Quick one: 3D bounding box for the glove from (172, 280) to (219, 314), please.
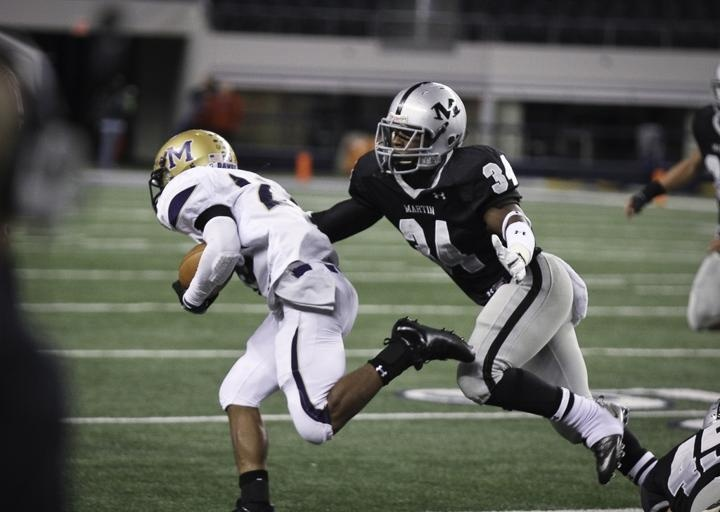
[{"bbox_3d":[-0.819,0.162,5.785,0.182,0.063,0.134,28,33,8],"label":"glove"}]

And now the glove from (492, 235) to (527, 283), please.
[{"bbox_3d":[0.678,0.007,5.377,0.059,0.219,0.135,-20,29,49],"label":"glove"}]

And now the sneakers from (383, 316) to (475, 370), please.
[{"bbox_3d":[0.272,0.379,5.623,0.196,0.265,0.579,-1,3,44],"label":"sneakers"}]

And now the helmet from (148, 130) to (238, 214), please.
[{"bbox_3d":[-0.807,-0.425,5.998,0.429,0.393,0.377,-1,-20,-5],"label":"helmet"}]

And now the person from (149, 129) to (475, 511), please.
[{"bbox_3d":[-0.251,0.274,5.745,1.075,1.324,1.056,-11,24,-26],"label":"person"}]

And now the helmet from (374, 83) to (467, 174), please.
[{"bbox_3d":[0.320,-0.656,5.923,0.492,0.372,0.379,-13,20,-32],"label":"helmet"}]

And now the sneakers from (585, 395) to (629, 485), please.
[{"bbox_3d":[1.174,0.874,5.742,0.207,0.425,0.148,12,-8,-25],"label":"sneakers"}]

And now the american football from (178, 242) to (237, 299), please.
[{"bbox_3d":[-0.723,0.065,5.710,0.111,0.184,0.197,34,23,-3],"label":"american football"}]
